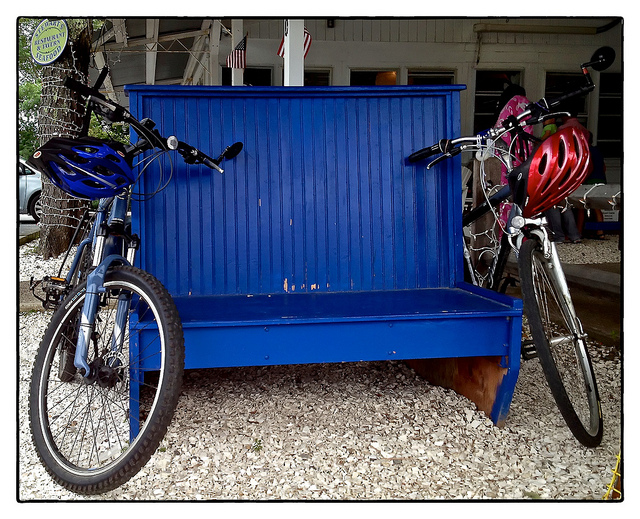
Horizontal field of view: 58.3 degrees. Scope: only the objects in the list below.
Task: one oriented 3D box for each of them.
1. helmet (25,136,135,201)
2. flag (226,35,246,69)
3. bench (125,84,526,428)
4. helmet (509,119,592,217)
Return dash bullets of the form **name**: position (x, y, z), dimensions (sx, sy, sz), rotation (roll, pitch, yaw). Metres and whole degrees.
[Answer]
- **helmet**: position (-1.125, -0.446, 2.704), dimensions (0.388, 0.320, 0.155), rotation (19, 19, -17)
- **flag**: position (-1.113, -2.776, 7.681), dimensions (0.375, 0.380, 0.163), rotation (10, 15, 36)
- **bench**: position (-0.031, -0.033, 3.550), dimensions (1.663, 1.868, 0.994), rotation (0, 6, -6)
- **helmet**: position (1.161, -0.433, 3.044), dimensions (0.346, 0.293, 0.488), rotation (-34, 1, -7)
